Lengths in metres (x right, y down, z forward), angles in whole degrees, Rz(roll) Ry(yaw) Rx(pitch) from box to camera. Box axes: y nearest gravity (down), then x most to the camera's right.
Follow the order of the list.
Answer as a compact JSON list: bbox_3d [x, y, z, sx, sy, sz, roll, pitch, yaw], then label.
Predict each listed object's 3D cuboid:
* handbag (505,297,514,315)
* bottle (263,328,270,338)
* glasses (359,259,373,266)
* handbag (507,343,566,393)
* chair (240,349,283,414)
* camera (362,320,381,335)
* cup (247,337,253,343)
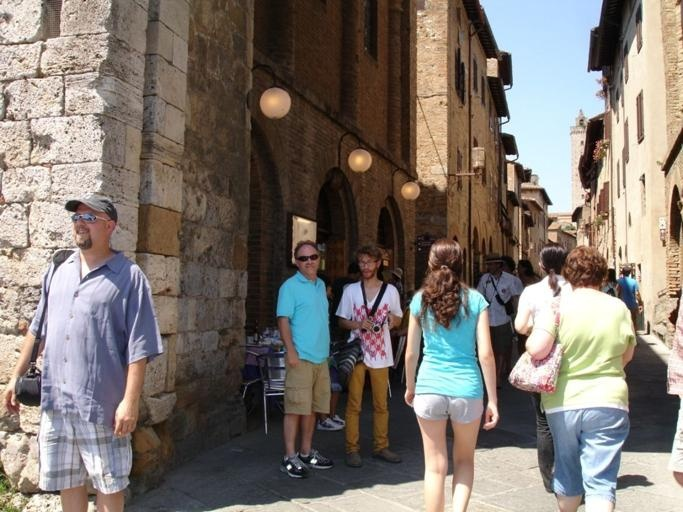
[{"bbox_3d":[2.288,0.688,9.538,0.142,0.254,0.138,8,-40,11],"label":"handbag"},{"bbox_3d":[-0.979,0.993,9.025,0.104,0.114,0.067,7,2,-43],"label":"bottle"},{"bbox_3d":[0.227,0.067,6.555,0.101,0.059,0.036,-3,-4,0],"label":"glasses"},{"bbox_3d":[1.324,0.717,4.692,0.316,0.445,0.137,-3,-31,42],"label":"handbag"},{"bbox_3d":[-0.885,1.367,8.130,0.411,0.532,0.403,5,6,-39],"label":"chair"},{"bbox_3d":[0.274,0.659,6.465,0.177,0.123,0.043,-3,-4,-1],"label":"camera"},{"bbox_3d":[-1.156,1.051,8.719,0.062,0.078,0.065,-1,4,0],"label":"cup"}]
